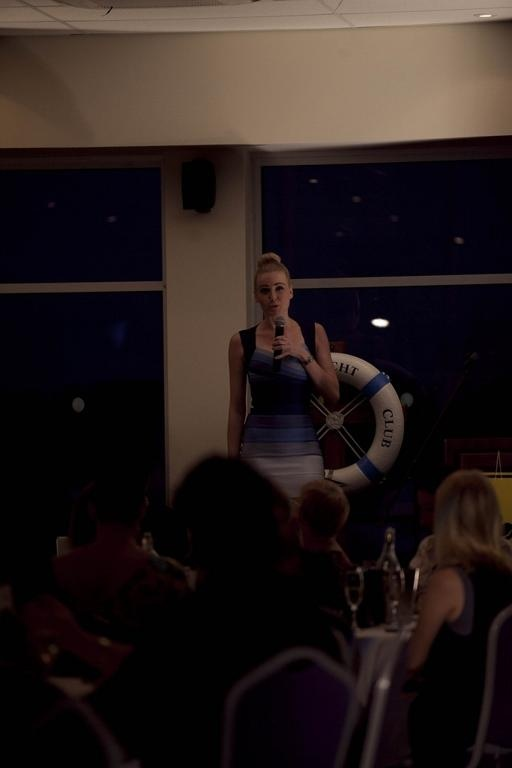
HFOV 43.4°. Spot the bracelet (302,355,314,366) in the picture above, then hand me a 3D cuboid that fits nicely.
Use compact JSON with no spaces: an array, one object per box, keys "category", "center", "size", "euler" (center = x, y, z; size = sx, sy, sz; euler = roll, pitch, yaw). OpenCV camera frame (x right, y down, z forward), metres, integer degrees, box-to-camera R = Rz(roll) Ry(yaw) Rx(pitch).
[{"category":"bracelet","center":[0.223,-0.103,2.812],"size":[0.055,0.033,0.048],"euler":[-49,5,-20]}]

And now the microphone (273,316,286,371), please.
[{"category":"microphone","center":[0.099,-0.177,2.858],"size":[0.043,0.233,0.138],"euler":[1,5,5]}]
